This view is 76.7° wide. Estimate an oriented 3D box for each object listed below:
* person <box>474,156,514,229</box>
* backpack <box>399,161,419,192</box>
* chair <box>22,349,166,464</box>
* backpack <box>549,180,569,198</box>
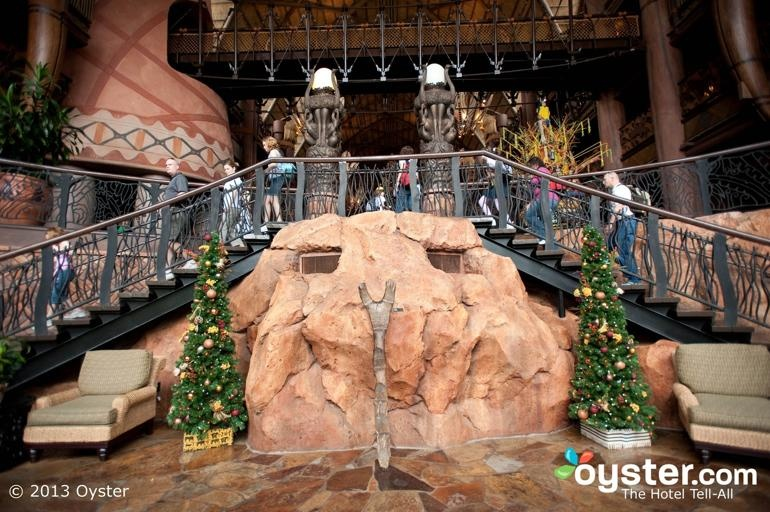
[{"bbox_3d":[2.232,-1.383,10.008,0.612,1.528,1.225,3,43,10],"label":"person"},{"bbox_3d":[0.410,-1.766,10.668,0.560,0.733,0.241,1,-2,8],"label":"backpack"},{"bbox_3d":[-4.697,2.331,7.975,1.393,1.346,1.903,0,-2,2],"label":"chair"},{"bbox_3d":[3.418,-1.317,9.646,0.368,0.112,0.356,-6,49,-31],"label":"backpack"}]
